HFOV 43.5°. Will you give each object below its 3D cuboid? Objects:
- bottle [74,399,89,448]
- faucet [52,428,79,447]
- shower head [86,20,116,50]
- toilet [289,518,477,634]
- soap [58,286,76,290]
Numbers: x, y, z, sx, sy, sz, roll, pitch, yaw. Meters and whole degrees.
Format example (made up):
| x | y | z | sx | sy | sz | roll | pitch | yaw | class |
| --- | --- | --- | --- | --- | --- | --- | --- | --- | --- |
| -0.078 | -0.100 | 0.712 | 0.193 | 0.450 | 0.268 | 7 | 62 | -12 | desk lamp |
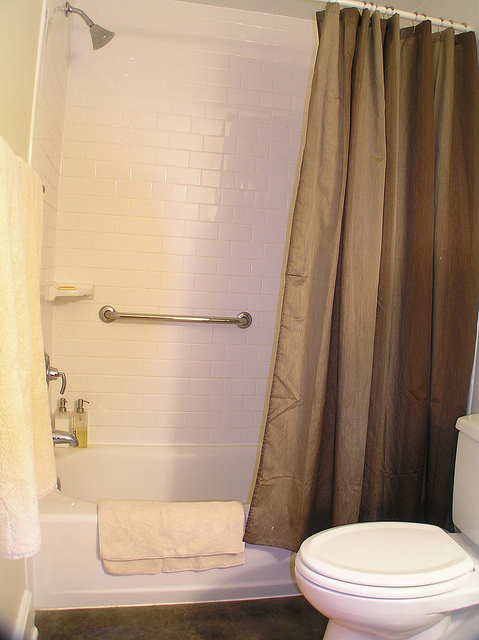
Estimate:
| x | y | z | sx | sy | sz | roll | pitch | yaw | class |
| --- | --- | --- | --- | --- | --- | --- | --- | --- | --- |
| -0.644 | 0.427 | 2.461 | 0.049 | 0.195 | 0.052 | 3 | 5 | 0 | bottle |
| -0.558 | 0.380 | 1.945 | 0.097 | 0.040 | 0.076 | 3 | -5 | -11 | faucet |
| -0.468 | -0.962 | 2.027 | 0.079 | 0.078 | 0.088 | 1 | 5 | -15 | shower head |
| 0.362 | 0.617 | 1.524 | 0.340 | 0.195 | 0.300 | 0 | 5 | -4 | toilet |
| -0.641 | -0.123 | 2.261 | 0.061 | 0.012 | 0.049 | 2 | 5 | -14 | soap |
